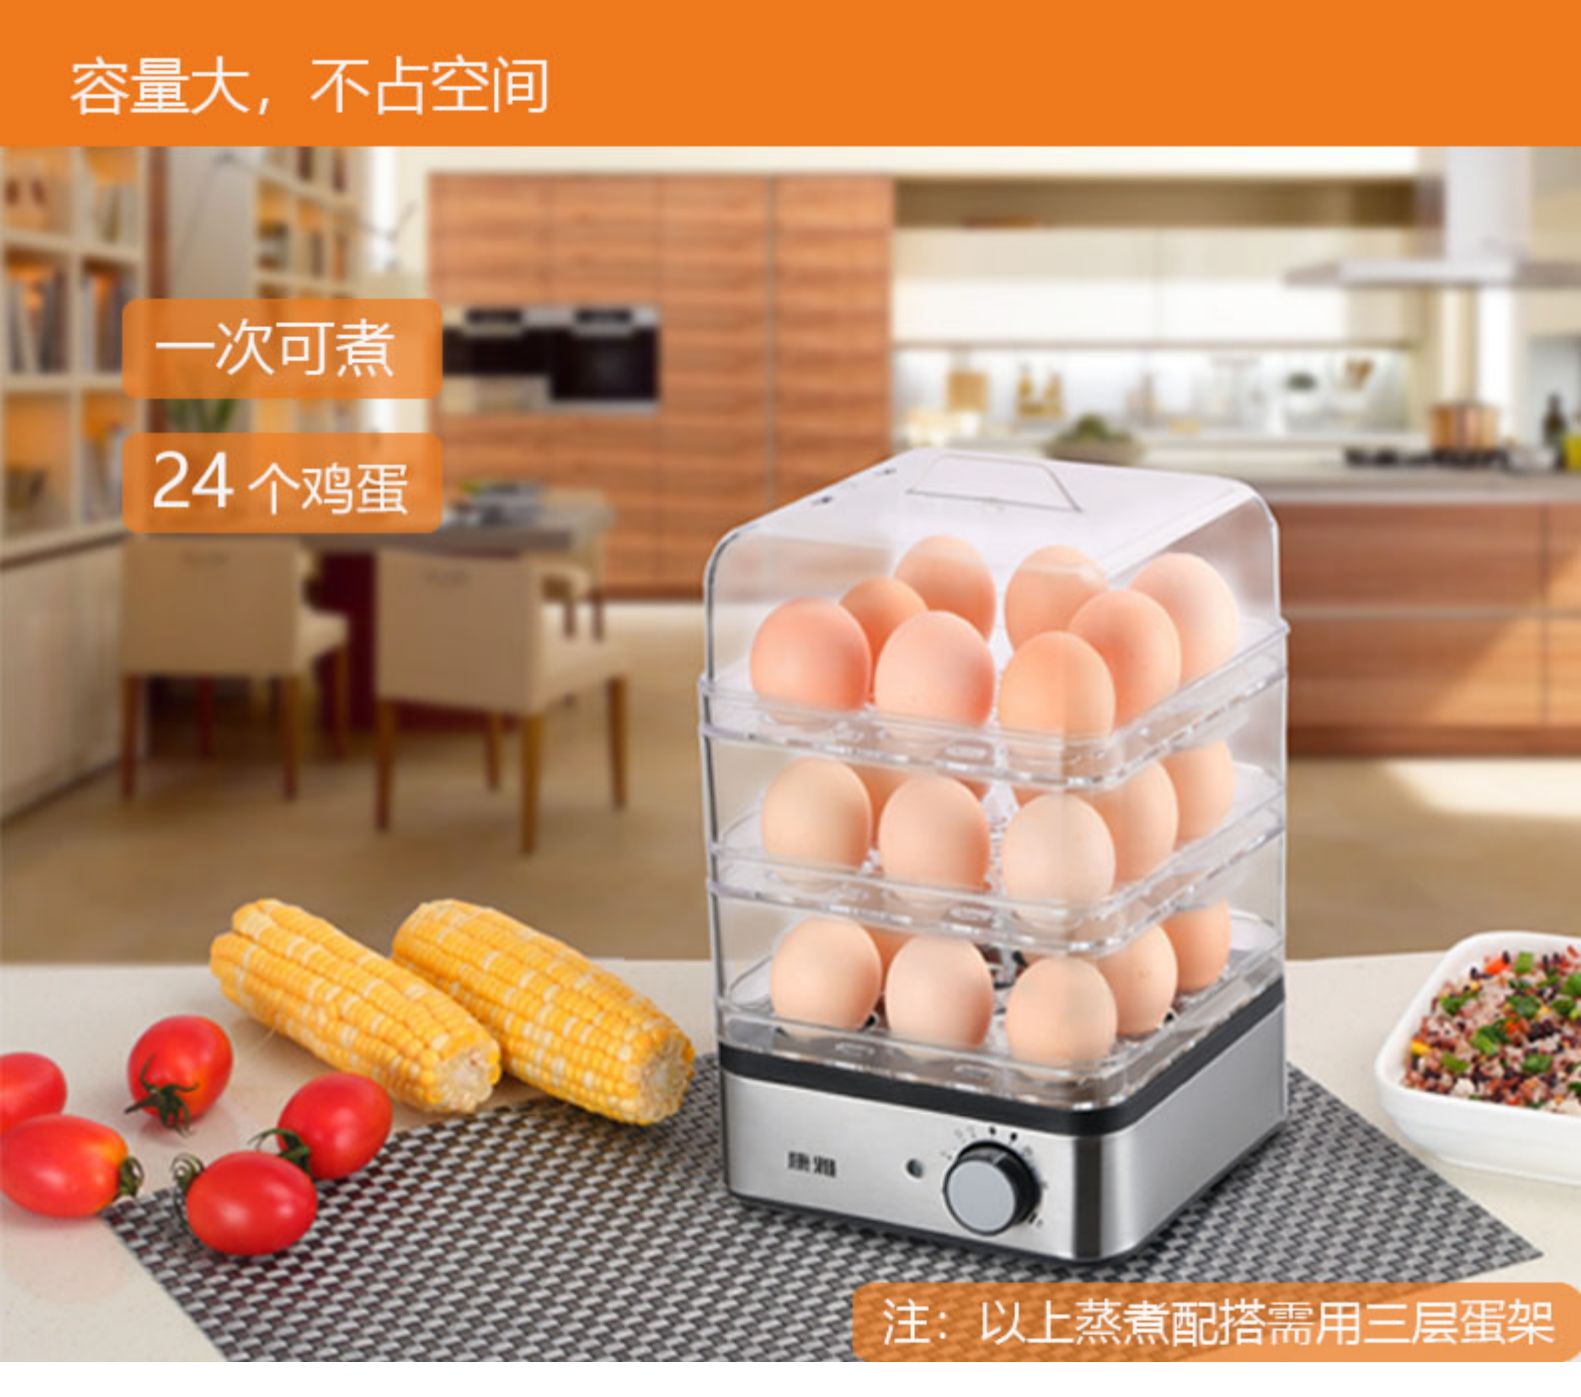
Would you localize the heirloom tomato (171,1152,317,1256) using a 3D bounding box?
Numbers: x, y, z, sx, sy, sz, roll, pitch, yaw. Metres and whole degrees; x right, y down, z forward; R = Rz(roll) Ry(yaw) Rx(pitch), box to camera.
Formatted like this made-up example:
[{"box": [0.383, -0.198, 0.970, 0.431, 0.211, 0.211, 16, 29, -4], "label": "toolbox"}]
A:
[{"box": [-0.251, 0.234, 0.674, 0.059, 0.042, 0.043, 14, 10, 10], "label": "heirloom tomato"}]

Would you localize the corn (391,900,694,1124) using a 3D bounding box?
[{"box": [-0.132, 0.174, 0.861, 0.209, 0.069, 0.084, 22, -16, 33], "label": "corn"}]

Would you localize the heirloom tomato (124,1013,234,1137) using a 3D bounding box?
[{"box": [-0.342, 0.213, 0.817, 0.039, 0.039, 0.050, 20, 28, 9], "label": "heirloom tomato"}]
